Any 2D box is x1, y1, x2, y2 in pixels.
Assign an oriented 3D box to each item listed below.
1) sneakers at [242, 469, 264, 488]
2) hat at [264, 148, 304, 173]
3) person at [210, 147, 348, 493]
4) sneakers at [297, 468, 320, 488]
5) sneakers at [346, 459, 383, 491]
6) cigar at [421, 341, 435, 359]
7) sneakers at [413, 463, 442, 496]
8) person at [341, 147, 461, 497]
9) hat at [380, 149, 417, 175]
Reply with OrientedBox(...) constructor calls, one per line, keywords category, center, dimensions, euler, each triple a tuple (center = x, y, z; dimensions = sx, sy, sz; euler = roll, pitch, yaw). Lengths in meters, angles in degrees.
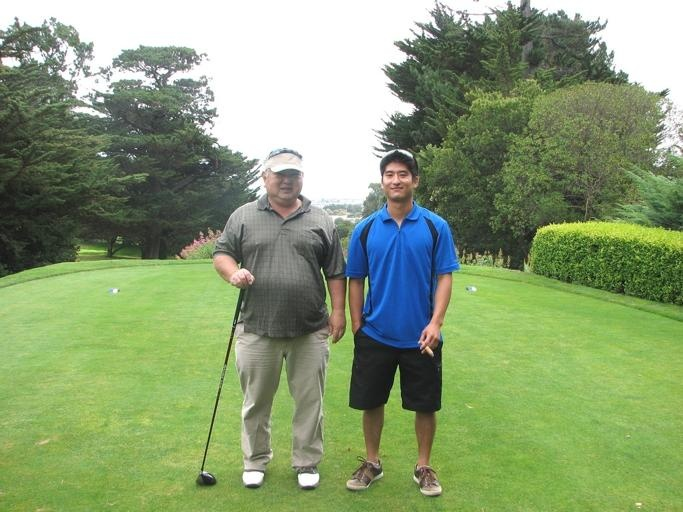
OrientedBox(category="sneakers", center=(-0.637, 1.634, 3.855), dimensions=(0.175, 0.092, 0.150), euler=(-3, 11, -20))
OrientedBox(category="hat", center=(-0.457, -0.736, 4.033), dimensions=(0.297, 0.183, 0.191), euler=(0, 11, -6))
OrientedBox(category="person", center=(-0.421, 0.422, 3.982), dimensions=(0.993, 2.442, 0.770), euler=(-2, 11, -14))
OrientedBox(category="sneakers", center=(-0.241, 1.642, 3.856), dimensions=(0.159, 0.091, 0.137), euler=(0, 10, -4))
OrientedBox(category="sneakers", center=(0.173, 1.619, 3.854), dimensions=(0.120, 0.153, 0.322), euler=(-8, -15, 30))
OrientedBox(category="cigar", center=(0.628, 0.694, 3.826), dimensions=(0.037, 0.100, 0.101), euler=(-42, -7, -32))
OrientedBox(category="sneakers", center=(0.631, 1.637, 3.807), dimensions=(0.108, 0.103, 0.244), euler=(0, -8, -15))
OrientedBox(category="person", center=(0.417, 0.446, 3.925), dimensions=(0.848, 2.446, 0.730), euler=(3, 11, 12))
OrientedBox(category="hat", center=(0.447, -0.746, 4.018), dimensions=(0.184, 0.117, 0.236), euler=(-1, -26, 8))
